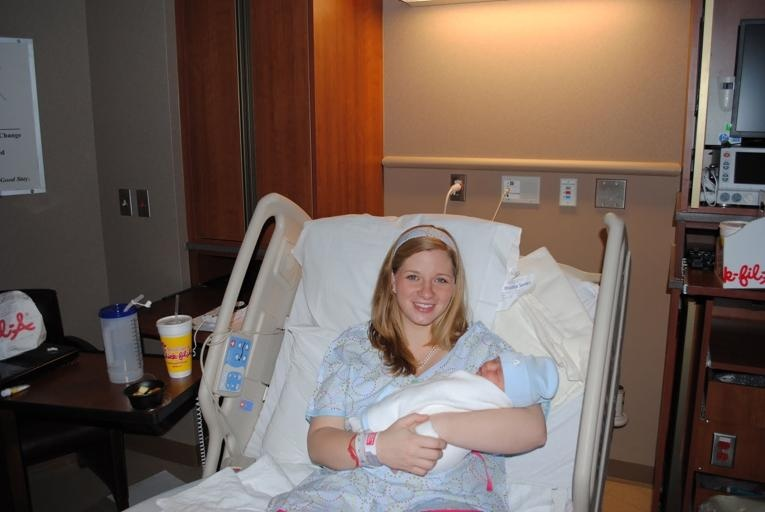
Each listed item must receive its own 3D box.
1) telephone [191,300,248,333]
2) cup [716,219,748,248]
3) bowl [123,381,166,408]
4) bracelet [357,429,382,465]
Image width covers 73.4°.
[{"bbox_3d":[-0.868,0.334,2.676,0.235,0.079,0.238,2,15,14],"label":"telephone"},{"bbox_3d":[1.700,-0.120,2.501,0.136,0.127,0.127,-6,14,2],"label":"cup"},{"bbox_3d":[-0.944,0.553,2.042,0.151,0.072,0.133,-2,9,-9],"label":"bowl"},{"bbox_3d":[-0.042,0.683,1.832,0.082,0.115,0.055,-10,-16,23],"label":"bracelet"}]
